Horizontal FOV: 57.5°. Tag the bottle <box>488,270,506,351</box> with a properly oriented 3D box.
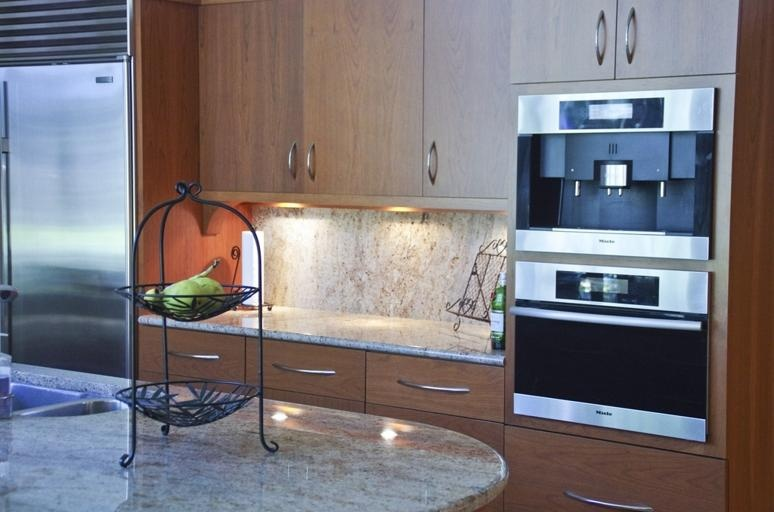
[{"bbox_3d":[0.513,0.246,3.285,0.070,0.348,0.227,2,6,9],"label":"bottle"}]

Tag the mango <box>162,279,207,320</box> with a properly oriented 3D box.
[{"bbox_3d":[-0.536,0.118,1.880,0.118,0.107,0.098,-1,6,-16],"label":"mango"}]

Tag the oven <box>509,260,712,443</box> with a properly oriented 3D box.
[{"bbox_3d":[1.038,0.376,3.134,0.858,0.674,0.586,2,3,36],"label":"oven"}]
